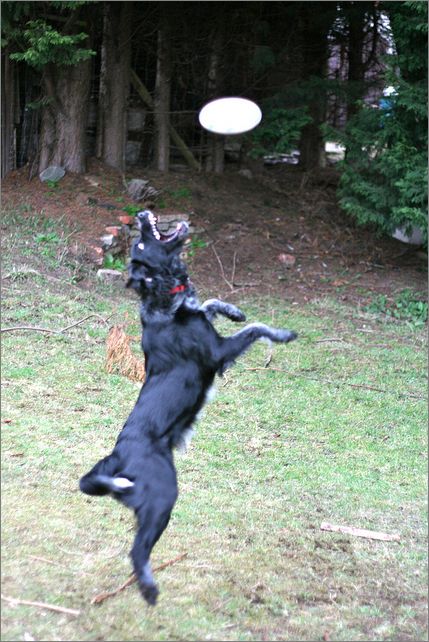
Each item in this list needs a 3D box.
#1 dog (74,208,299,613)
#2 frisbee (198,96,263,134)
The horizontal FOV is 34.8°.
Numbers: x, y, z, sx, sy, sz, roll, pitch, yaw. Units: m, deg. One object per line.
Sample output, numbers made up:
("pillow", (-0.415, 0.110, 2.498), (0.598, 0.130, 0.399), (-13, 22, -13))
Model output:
("dog", (-0.207, 0.350, 3.415), (0.708, 1.781, 1.010), (8, 8, 13))
("frisbee", (0.129, -1.743, 5.749), (0.505, 0.374, 0.476), (4, 7, -3))
